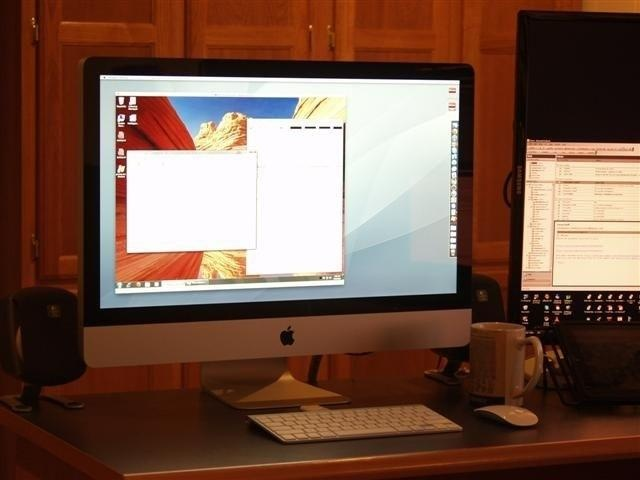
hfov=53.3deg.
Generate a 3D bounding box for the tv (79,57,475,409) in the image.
[{"bbox_3d":[-0.083,-0.035,1.209,0.702,0.594,0.222,-1,1,-18],"label":"tv"}]
